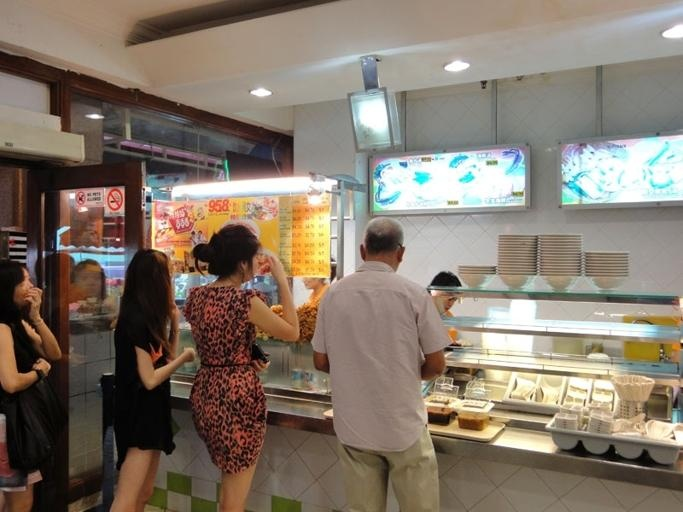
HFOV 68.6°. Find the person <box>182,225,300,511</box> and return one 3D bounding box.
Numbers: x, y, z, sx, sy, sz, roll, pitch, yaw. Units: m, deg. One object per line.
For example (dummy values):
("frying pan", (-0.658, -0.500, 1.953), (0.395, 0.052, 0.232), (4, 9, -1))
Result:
("person", (-0.573, 0.614, 2.868), (0.617, 1.596, 0.395), (-2, 5, -18))

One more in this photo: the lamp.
("lamp", (0.226, -1.056, 3.500), (0.333, 0.608, 0.214), (2, 5, 32))

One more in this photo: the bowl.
("bowl", (1.072, 0.032, 2.714), (0.840, 0.304, 0.183), (1, 4, 14))
